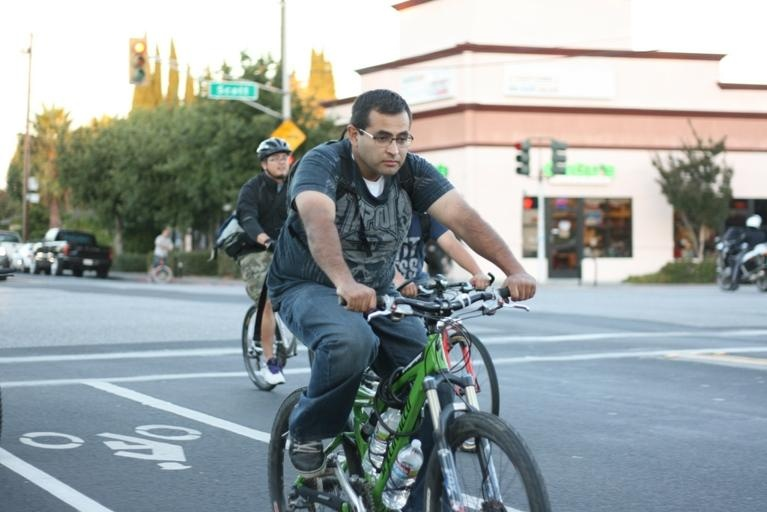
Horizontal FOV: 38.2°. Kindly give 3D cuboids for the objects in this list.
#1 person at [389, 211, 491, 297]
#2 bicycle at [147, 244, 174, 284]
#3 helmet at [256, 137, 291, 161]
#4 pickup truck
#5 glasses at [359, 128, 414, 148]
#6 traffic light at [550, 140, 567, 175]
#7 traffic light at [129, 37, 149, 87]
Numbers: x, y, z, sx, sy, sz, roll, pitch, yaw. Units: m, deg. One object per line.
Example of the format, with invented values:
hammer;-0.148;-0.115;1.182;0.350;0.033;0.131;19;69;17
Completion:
person;0.436;-0.047;11.748;0.797;1.250;0.893;-8;-9;44
bicycle;-7.513;0.461;37.171;0.955;1.436;0.701;0;1;-2
helmet;-1.422;-1.385;13.810;0.273;0.201;0.375;3;-19;-37
pickup truck;-11.736;-0.130;41.393;3.006;1.804;1.874;0;-2;33
glasses;0.016;-1.039;9.685;0.492;0.152;0.159;1;-2;-9
traffic light;4.971;-2.782;31.473;0.416;0.942;2.111;1;-2;9
traffic light;-6.091;-4.860;27.556;0.450;1.192;0.457;1;-1;-7
